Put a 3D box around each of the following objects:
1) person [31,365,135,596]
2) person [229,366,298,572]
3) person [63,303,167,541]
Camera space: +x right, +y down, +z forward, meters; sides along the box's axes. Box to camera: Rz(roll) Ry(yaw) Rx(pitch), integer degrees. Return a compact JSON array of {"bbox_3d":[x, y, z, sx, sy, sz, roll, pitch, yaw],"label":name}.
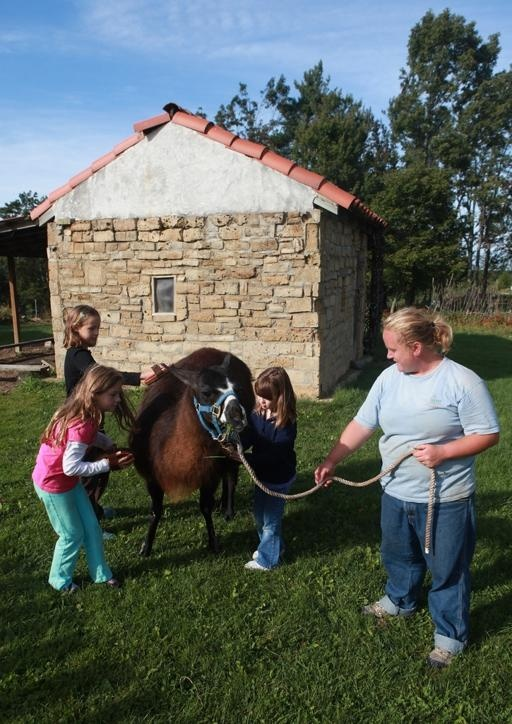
[{"bbox_3d":[-1.048,0.680,3.806,0.696,1.477,0.507,0,1,4],"label":"person"},{"bbox_3d":[0.095,0.724,3.858,0.341,1.430,0.436,-1,9,0],"label":"person"},{"bbox_3d":[-1.218,0.184,4.452,0.678,2.247,0.687,-9,12,-40],"label":"person"}]
